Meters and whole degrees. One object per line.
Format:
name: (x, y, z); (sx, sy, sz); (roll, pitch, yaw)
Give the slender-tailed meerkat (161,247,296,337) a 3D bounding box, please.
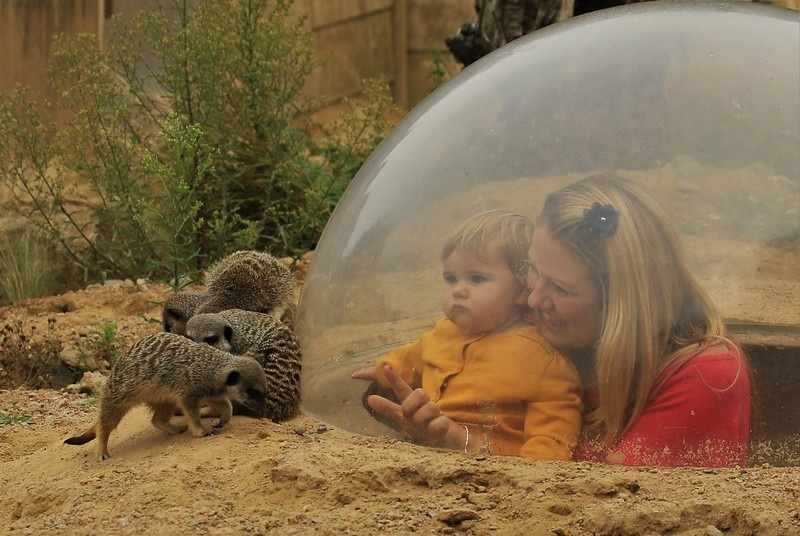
slender-tailed meerkat: (-1.168, 0.131, 8.799); (0.537, 0.317, 0.786); (19, 43, 31)
